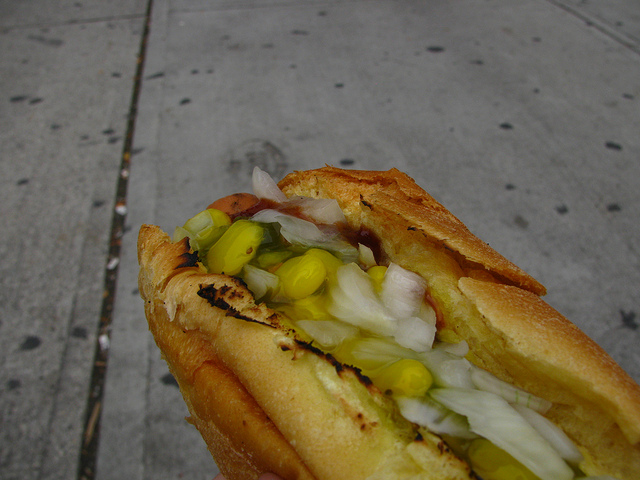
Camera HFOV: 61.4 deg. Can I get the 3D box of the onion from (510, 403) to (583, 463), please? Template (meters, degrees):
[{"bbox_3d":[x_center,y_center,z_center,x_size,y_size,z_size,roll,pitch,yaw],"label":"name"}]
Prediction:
[{"bbox_3d":[0.851,0.754,2.066,0.155,0.054,0.232,-25,56,-40],"label":"onion"}]

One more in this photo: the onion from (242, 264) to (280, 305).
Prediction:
[{"bbox_3d":[-0.238,0.175,2.286,0.100,0.147,0.142,22,34,38],"label":"onion"}]

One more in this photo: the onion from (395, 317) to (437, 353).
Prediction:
[{"bbox_3d":[0.382,0.372,2.122,0.140,0.036,0.121,39,79,9],"label":"onion"}]

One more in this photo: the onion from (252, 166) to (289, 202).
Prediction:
[{"bbox_3d":[-0.258,-0.244,2.587,0.203,0.062,0.123,39,64,-2],"label":"onion"}]

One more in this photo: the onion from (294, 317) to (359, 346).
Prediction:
[{"bbox_3d":[0.034,0.356,2.130,0.178,0.063,0.111,15,56,9],"label":"onion"}]

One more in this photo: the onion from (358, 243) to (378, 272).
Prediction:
[{"bbox_3d":[0.196,0.074,2.295,0.077,0.035,0.109,-24,98,-10],"label":"onion"}]

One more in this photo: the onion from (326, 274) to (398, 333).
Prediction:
[{"bbox_3d":[0.235,0.217,2.235,0.346,0.191,0.235,19,26,40],"label":"onion"}]
